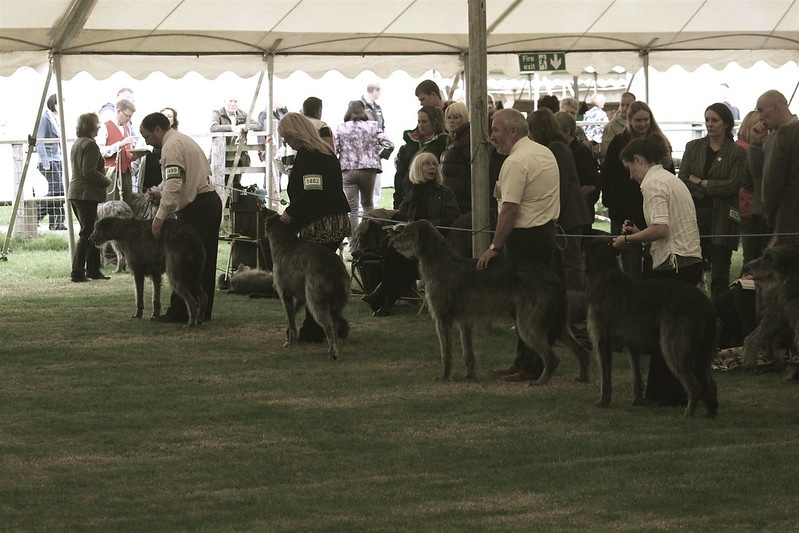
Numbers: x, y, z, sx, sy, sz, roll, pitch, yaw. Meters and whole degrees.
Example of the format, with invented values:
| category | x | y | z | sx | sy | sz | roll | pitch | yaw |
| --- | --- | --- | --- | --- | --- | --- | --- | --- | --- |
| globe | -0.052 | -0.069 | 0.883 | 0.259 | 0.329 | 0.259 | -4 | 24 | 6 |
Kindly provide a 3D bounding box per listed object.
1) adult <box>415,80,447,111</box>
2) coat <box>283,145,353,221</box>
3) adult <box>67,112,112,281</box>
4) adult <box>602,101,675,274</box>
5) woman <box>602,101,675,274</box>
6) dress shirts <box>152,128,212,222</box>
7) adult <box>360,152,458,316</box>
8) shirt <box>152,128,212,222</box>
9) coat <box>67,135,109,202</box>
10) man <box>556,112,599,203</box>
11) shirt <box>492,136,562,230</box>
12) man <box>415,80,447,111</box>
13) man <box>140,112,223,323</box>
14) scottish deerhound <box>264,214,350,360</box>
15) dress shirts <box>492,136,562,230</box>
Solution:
| category | x | y | z | sx | sy | sz | roll | pitch | yaw |
| --- | --- | --- | --- | --- | --- | --- | --- | --- | --- |
| adult | 0.463 | -2.592 | 16.261 | 0.429 | 0.500 | 1.261 | 1 | 3 | 1 |
| coat | -0.977 | -0.972 | 13.781 | 0.721 | 0.967 | 1.259 | -2 | 2 | 20 |
| adult | -5.136 | -1.126 | 17.813 | 0.780 | 2.843 | 0.824 | 0 | 0 | -7 |
| adult | 3.209 | -0.830 | 14.366 | 0.868 | 2.741 | 0.762 | -1 | 23 | 16 |
| woman | 3.195 | -0.809 | 14.362 | 0.876 | 2.785 | 0.762 | 0 | 23 | 17 |
| dress shirts | -2.988 | -1.315 | 14.626 | 0.893 | 1.090 | 1.434 | -9 | 19 | -4 |
| adult | 0.256 | -0.496 | 14.999 | 1.180 | 2.119 | 0.953 | -7 | 8 | -41 |
| shirt | -2.953 | -1.335 | 14.622 | 0.804 | 1.132 | 1.433 | -9 | 17 | -4 |
| coat | -5.118 | -1.577 | 17.819 | 0.693 | 1.071 | 0.857 | -1 | 2 | -32 |
| man | 2.512 | -1.777 | 15.159 | 0.467 | 1.048 | 0.344 | -16 | -31 | 3 |
| shirt | 1.550 | -0.975 | 12.633 | 0.675 | 1.024 | 1.223 | -8 | -2 | 33 |
| man | 0.458 | -2.604 | 16.296 | 0.417 | 0.479 | 0.933 | 1 | 3 | 0 |
| man | -3.088 | -0.640 | 14.812 | 1.246 | 2.865 | 1.114 | 5 | 9 | 24 |
| scottish deerhound | -1.130 | 0.256 | 13.548 | 1.061 | 1.764 | 0.461 | 3 | 2 | 38 |
| dress shirts | 1.539 | -0.975 | 12.649 | 0.679 | 1.045 | 1.239 | -7 | -1 | 33 |
